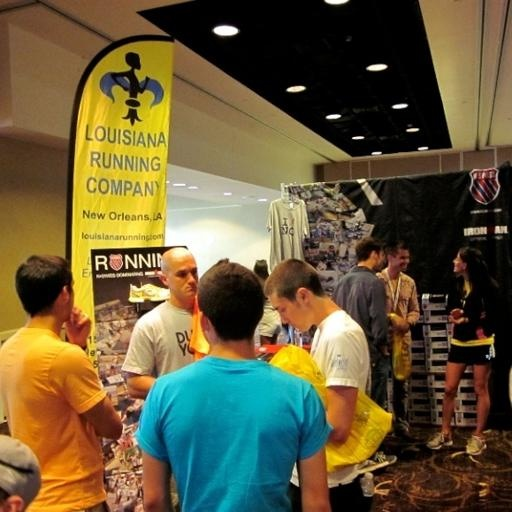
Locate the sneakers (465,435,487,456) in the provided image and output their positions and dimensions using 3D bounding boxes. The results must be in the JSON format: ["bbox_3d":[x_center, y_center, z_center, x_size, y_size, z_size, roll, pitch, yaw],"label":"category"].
[{"bbox_3d":[2.101,1.775,4.407,0.126,0.145,0.339,-7,-7,25],"label":"sneakers"}]

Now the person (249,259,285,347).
[{"bbox_3d":[0.139,0.846,6.633,0.450,1.591,0.401,3,4,27],"label":"person"}]

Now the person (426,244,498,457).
[{"bbox_3d":[2.045,0.900,4.553,0.607,1.970,0.504,-4,-2,20],"label":"person"}]

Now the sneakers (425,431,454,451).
[{"bbox_3d":[1.856,1.829,4.647,0.274,0.153,0.122,-2,1,-25],"label":"sneakers"}]
